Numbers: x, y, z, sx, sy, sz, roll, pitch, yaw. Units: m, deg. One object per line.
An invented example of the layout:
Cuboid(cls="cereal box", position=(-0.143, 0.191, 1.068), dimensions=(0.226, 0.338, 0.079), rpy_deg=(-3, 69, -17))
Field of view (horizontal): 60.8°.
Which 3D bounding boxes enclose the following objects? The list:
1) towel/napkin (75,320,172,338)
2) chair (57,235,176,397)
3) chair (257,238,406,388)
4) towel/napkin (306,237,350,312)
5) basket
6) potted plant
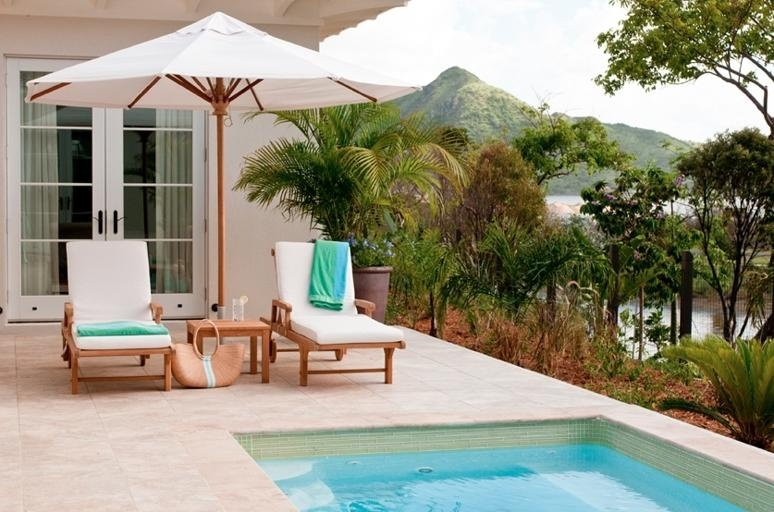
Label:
Cuboid(cls="towel/napkin", position=(-2.498, 0.685, 6.229), dimensions=(0.802, 0.108, 0.446), rpy_deg=(1, 0, -19))
Cuboid(cls="chair", position=(-2.789, 0.519, 6.722), dimensions=(0.962, 1.217, 1.671), rpy_deg=(2, 6, -29))
Cuboid(cls="chair", position=(-0.650, 0.549, 7.188), dimensions=(1.106, 1.399, 2.005), rpy_deg=(2, 2, -28))
Cuboid(cls="towel/napkin", position=(-0.642, 0.215, 7.442), dimensions=(0.426, 0.768, 0.201), rpy_deg=(2, -10, -4))
Cuboid(cls="basket", position=(-1.760, 0.990, 6.487), dimensions=(0.666, 0.588, 0.219), rpy_deg=(0, 0, -19))
Cuboid(cls="potted plant", position=(-0.559, -0.944, 10.011), dimensions=(2.929, 3.076, 3.132), rpy_deg=(0, -4, -15))
